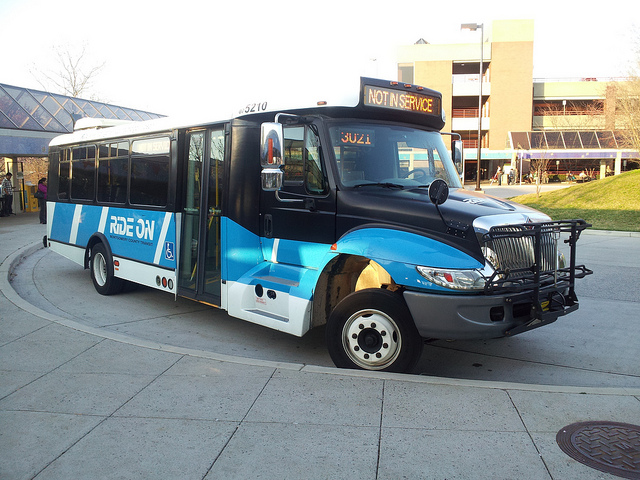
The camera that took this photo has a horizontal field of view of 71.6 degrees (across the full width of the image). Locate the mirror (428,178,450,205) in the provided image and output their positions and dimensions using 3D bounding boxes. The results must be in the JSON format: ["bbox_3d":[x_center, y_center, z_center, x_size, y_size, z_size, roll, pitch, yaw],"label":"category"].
[{"bbox_3d":[1.297,-0.532,4.951,0.215,0.285,0.064,27,-7,-17],"label":"mirror"}]

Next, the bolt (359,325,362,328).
[{"bbox_3d":[0.463,1.010,5.146,0.031,0.019,0.006,3,6,18],"label":"bolt"}]

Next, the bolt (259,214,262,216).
[{"bbox_3d":[-0.856,-0.356,6.334,0.045,0.030,0.031,-1,-3,11],"label":"bolt"}]

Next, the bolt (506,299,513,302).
[{"bbox_3d":[1.997,0.646,4.708,0.094,0.037,0.008,-2,6,-27],"label":"bolt"}]

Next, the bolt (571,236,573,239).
[{"bbox_3d":[2.973,-0.029,5.269,0.019,0.011,0.011,-3,-28,20],"label":"bolt"}]

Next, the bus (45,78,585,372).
[{"bbox_3d":[-1.561,-0.118,8.866,11.466,4.115,4.153,7,9,41],"label":"bus"}]

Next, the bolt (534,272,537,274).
[{"bbox_3d":[2.349,0.362,4.866,0.008,0.028,0.027,0,16,-23],"label":"bolt"}]

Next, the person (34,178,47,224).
[{"bbox_3d":[-13.078,-1.780,20.811,0.406,2.102,1.225,-3,7,-32],"label":"person"}]

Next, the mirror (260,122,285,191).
[{"bbox_3d":[-0.572,-0.987,5.247,0.264,0.780,0.215,0,6,-1],"label":"mirror"}]
